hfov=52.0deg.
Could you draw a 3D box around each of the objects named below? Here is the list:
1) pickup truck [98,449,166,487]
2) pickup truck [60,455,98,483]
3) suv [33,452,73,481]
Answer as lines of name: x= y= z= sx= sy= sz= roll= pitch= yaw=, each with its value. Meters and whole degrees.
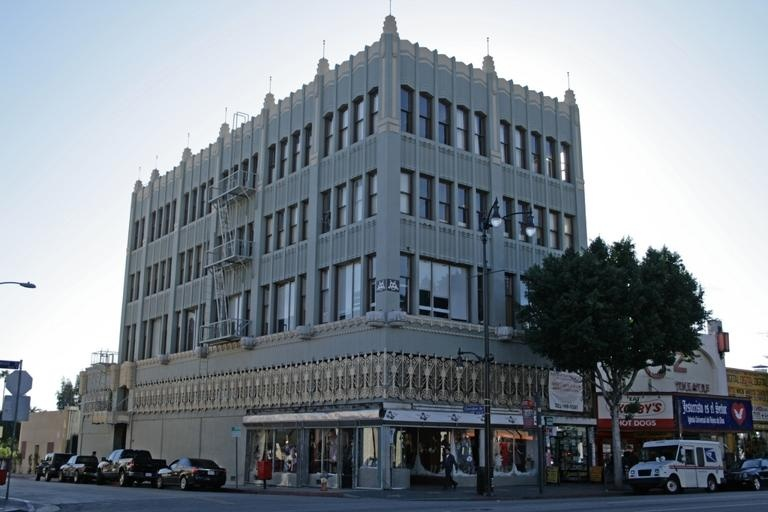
pickup truck: x=-18.182 y=14.987 z=55.873 sx=3.207 sy=2.493 sz=6.498 roll=15 pitch=-21 yaw=-39
pickup truck: x=-23.484 y=16.229 z=60.447 sx=1.969 sy=1.686 sz=4.311 roll=10 pitch=-13 yaw=-36
suv: x=-27.539 y=17.295 z=65.311 sx=2.093 sy=1.966 sz=3.578 roll=7 pitch=-11 yaw=-36
